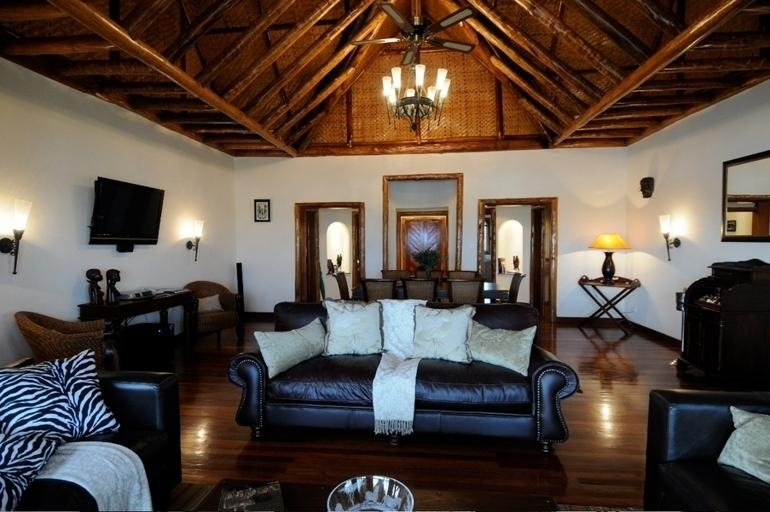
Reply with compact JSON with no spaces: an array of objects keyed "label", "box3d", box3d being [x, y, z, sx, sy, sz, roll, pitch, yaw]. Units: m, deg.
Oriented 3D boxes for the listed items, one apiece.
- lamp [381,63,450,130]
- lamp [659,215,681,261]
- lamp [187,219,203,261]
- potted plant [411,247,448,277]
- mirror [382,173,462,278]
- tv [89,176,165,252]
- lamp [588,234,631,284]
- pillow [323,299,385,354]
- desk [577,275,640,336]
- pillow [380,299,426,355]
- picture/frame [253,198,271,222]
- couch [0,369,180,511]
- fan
[{"label":"lamp","box3d":[0.339,-2.128,7.336,0.811,0.853,0.823,-5,-9,9]},{"label":"lamp","box3d":[4.221,-0.277,8.138,0.177,0.700,0.476,0,0,-4]},{"label":"lamp","box3d":[-3.011,-0.245,8.722,0.178,0.647,0.470,0,0,3]},{"label":"potted plant","box3d":[0.749,0.045,9.096,0.628,0.571,0.651,1,-17,-1]},{"label":"mirror","box3d":[0.916,-0.314,12.525,1.675,2.281,1.659,-3,-19,9]},{"label":"tv","box3d":[-3.479,-0.562,7.224,0.157,0.857,0.978,4,-6,24]},{"label":"lamp","box3d":[3.646,0.060,9.053,0.744,0.922,0.783,1,-6,2]},{"label":"pillow","box3d":[-0.341,0.778,5.935,0.651,0.642,0.237,0,3,-10]},{"label":"desk","box3d":[3.742,0.787,9.023,0.951,0.901,0.974,0,0,14]},{"label":"pillow","box3d":[0.196,0.793,5.867,0.482,0.541,0.207,1,-10,13]},{"label":"picture/frame","box3d":[-2.255,-0.863,9.998,0.432,0.581,0.056,0,-3,-2]},{"label":"couch","box3d":[-2.376,1.624,4.879,1.055,0.822,1.052,3,-9,-26]},{"label":"fan","box3d":[0.391,-2.627,6.417,1.227,0.702,1.398,2,4,14]}]
